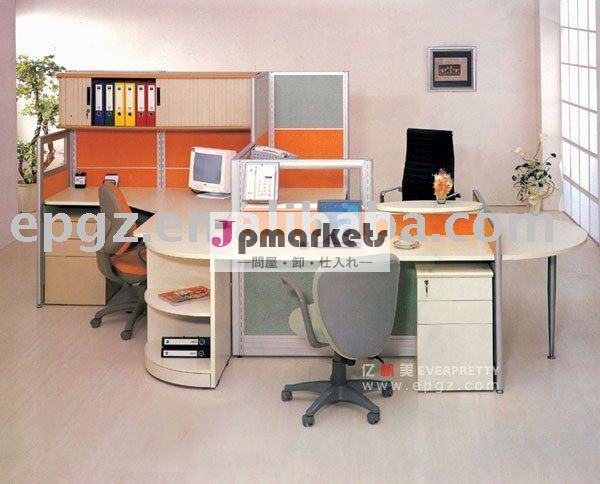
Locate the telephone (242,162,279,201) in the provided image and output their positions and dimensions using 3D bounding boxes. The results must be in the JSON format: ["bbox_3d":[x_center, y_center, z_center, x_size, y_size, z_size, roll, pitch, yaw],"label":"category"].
[{"bbox_3d":[-0.259,-0.397,3.505,0.238,0.263,0.110,-2,12,-7],"label":"telephone"}]

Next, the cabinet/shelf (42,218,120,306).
[{"bbox_3d":[-1.878,0.129,4.589,0.568,0.956,0.612,0,9,-2],"label":"cabinet/shelf"}]

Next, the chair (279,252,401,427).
[{"bbox_3d":[0.222,0.477,3.030,0.631,0.984,0.669,5,13,20],"label":"chair"}]

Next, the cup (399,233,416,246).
[{"bbox_3d":[0.643,-0.012,3.247,0.096,0.075,0.066,6,9,44],"label":"cup"}]

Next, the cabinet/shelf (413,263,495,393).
[{"bbox_3d":[0.832,0.491,3.252,0.519,1.002,0.623,0,6,3],"label":"cabinet/shelf"}]

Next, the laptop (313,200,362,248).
[{"bbox_3d":[0.247,-0.130,3.420,0.252,0.233,0.296,1,12,4],"label":"laptop"}]

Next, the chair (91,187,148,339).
[{"bbox_3d":[-1.343,0.111,4.021,0.599,1.108,0.413,11,17,41],"label":"chair"}]
